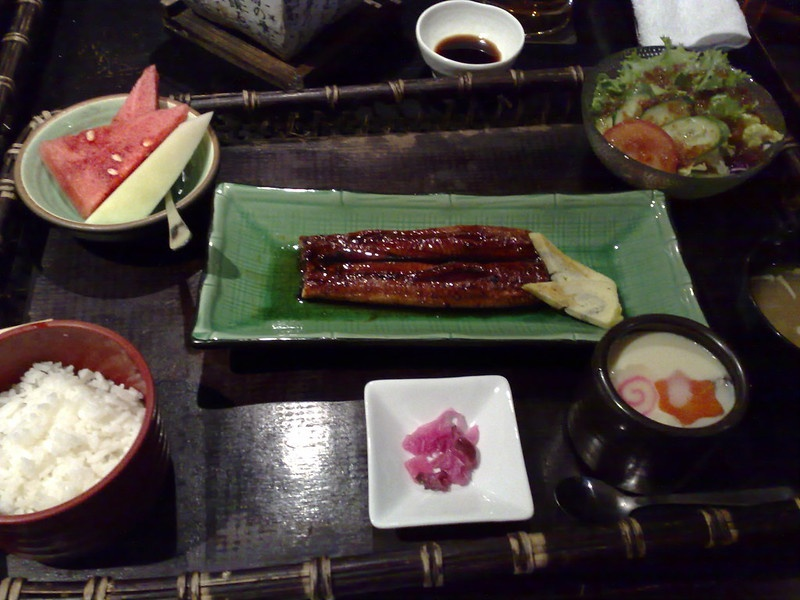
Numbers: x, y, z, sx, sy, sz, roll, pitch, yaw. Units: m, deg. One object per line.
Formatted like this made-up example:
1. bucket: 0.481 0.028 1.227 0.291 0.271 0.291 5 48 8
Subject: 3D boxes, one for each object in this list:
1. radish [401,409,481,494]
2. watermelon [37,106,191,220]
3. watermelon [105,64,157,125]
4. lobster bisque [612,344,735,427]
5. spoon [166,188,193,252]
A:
1. radish: 0.172 0.660 2.700 0.259 0.125 0.235 37 40 9
2. watermelon: -1.423 -0.665 3.136 0.454 0.277 0.557 29 48 33
3. watermelon: -1.348 -1.071 3.344 0.278 0.273 0.299 21 33 25
4. lobster bisque: 1.128 0.312 2.755 0.528 0.305 0.428 -1 28 -16
5. spoon: -1.075 -0.365 2.984 0.079 0.064 0.436 -22 57 -10
